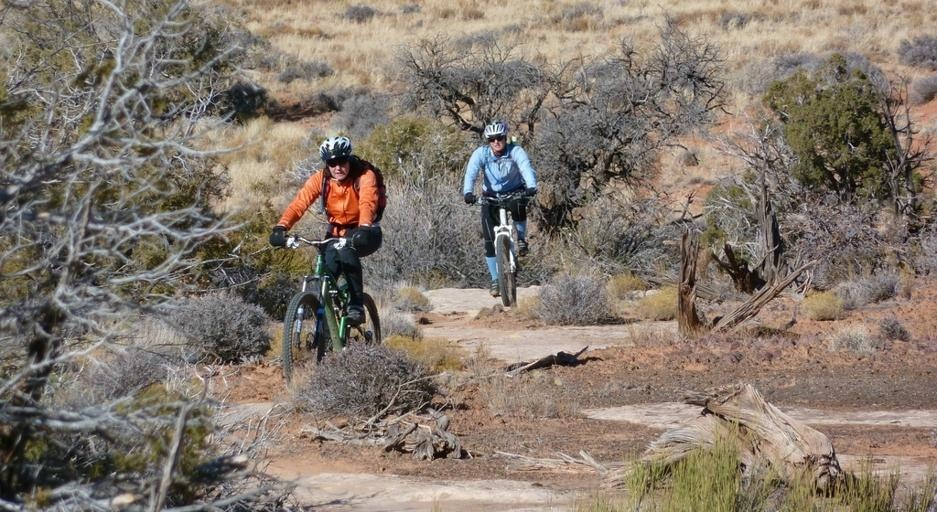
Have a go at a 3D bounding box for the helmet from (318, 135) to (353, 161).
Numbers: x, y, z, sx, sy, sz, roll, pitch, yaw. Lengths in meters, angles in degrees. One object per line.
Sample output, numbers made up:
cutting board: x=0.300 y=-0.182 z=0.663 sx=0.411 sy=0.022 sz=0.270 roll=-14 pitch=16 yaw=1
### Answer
helmet: x=-2.134 y=-1.710 z=15.999 sx=0.444 sy=0.385 sz=0.319 roll=-2 pitch=7 yaw=1

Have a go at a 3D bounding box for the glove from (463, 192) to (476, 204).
glove: x=-0.001 y=-1.186 z=20.370 sx=0.361 sy=0.221 sz=0.533 roll=1 pitch=4 yaw=0

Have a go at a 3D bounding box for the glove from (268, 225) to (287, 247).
glove: x=-3.033 y=-0.307 z=16.053 sx=0.224 sy=0.377 sz=0.158 roll=0 pitch=-4 yaw=-3

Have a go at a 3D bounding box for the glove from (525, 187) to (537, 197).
glove: x=1.199 y=-1.281 z=19.819 sx=0.208 sy=0.136 sz=0.338 roll=-2 pitch=8 yaw=-1

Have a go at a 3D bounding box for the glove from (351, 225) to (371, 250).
glove: x=-1.698 y=-0.312 z=15.975 sx=0.368 sy=0.371 sz=0.352 roll=-5 pitch=8 yaw=-28
